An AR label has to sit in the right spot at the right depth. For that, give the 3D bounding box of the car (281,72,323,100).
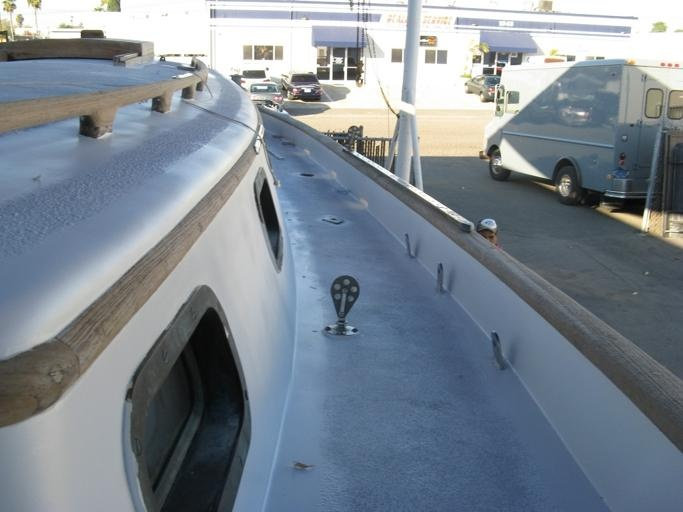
[{"bbox_3d":[-2.693,-12.072,30.777,2.066,1.879,2.495,-6,20,-20],"label":"car"}]

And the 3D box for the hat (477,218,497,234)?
[{"bbox_3d":[1.824,-0.374,5.380,0.247,0.197,0.373,7,1,19],"label":"hat"}]
